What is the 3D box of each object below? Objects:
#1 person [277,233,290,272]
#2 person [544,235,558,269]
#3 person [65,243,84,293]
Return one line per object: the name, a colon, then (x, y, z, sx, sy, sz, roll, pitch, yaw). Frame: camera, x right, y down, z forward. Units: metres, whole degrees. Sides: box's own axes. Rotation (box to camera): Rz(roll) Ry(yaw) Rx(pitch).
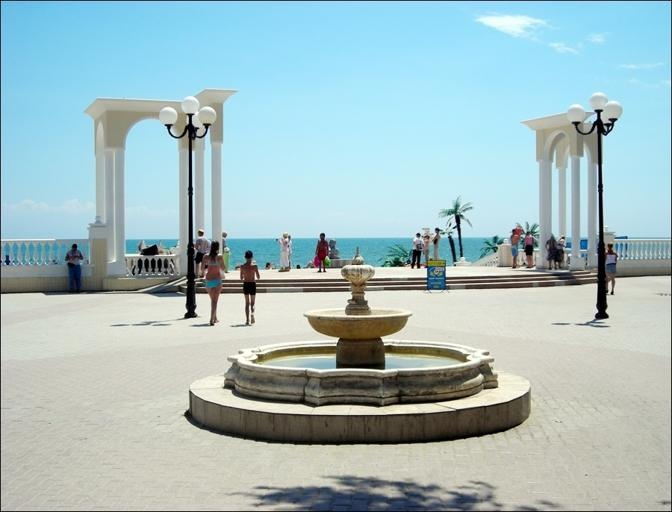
person: (-2.161, -0.192, 32.066, 0.420, 1.571, 0.915, -1, 6, -4)
person: (9.038, -0.187, 31.663, 0.504, 1.445, 0.892, 2, 6, 23)
person: (-8.854, 0.371, 25.614, 0.528, 1.609, 0.612, -2, 6, -21)
